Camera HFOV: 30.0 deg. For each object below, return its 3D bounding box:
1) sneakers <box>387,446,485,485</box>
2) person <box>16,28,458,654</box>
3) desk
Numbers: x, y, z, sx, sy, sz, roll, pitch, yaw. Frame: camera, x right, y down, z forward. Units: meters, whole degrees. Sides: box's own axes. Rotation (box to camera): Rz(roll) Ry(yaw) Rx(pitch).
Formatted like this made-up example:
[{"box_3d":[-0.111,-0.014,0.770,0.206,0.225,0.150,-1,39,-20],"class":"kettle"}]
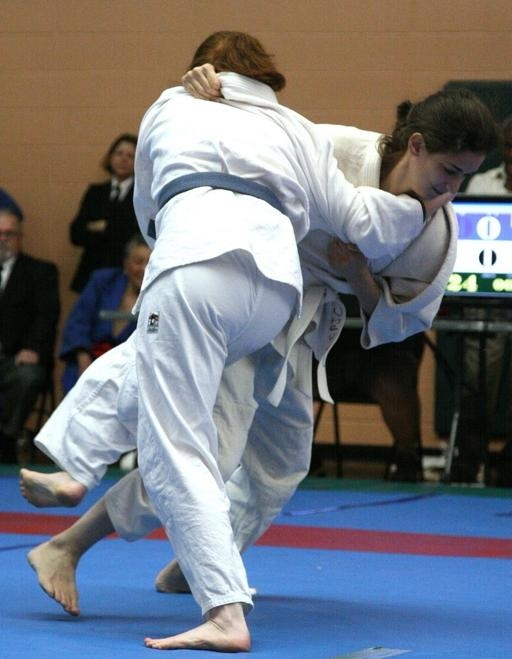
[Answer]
[{"box_3d":[0.744,0.551,3.877,0.249,0.145,0.055,5,6,28],"class":"sneakers"},{"box_3d":[-0.105,-0.051,1.851,0.595,1.023,0.503,1,-1,39],"class":"person"},{"box_3d":[0.737,0.230,4.112,1.006,0.782,0.715,0,2,14],"class":"desk"}]
